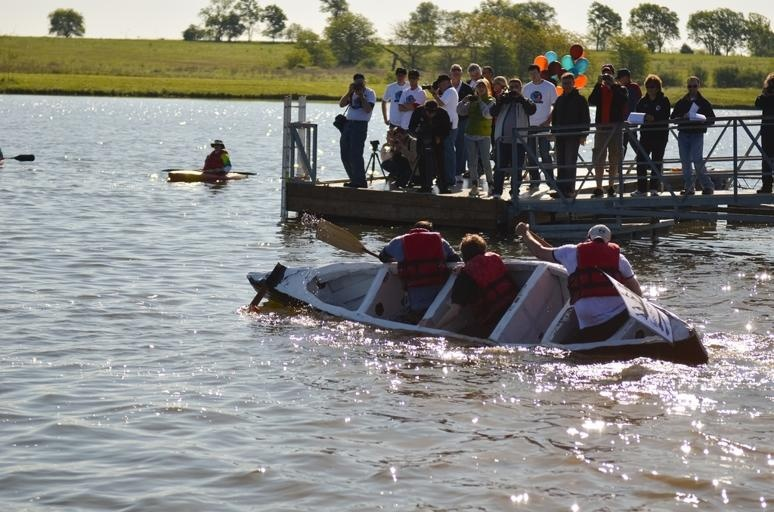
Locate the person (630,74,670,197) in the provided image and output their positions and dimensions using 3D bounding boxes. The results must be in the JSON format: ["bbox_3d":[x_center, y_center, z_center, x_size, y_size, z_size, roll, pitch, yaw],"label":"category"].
[{"bbox_3d":[6.205,-2.845,36.341,1.030,2.944,0.840,2,0,8],"label":"person"}]

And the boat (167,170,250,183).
[{"bbox_3d":[-5.164,-2.313,46.282,2.514,0.303,0.729,-4,18,-43],"label":"boat"}]

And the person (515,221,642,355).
[{"bbox_3d":[4.187,0.471,31.307,1.609,2.078,0.618,3,10,5],"label":"person"}]

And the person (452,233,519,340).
[{"bbox_3d":[2.003,0.664,31.843,1.297,2.084,0.466,2,10,3],"label":"person"}]

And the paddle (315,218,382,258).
[{"bbox_3d":[-0.558,-0.215,33.620,2.190,0.482,0.315,17,24,18],"label":"paddle"}]
